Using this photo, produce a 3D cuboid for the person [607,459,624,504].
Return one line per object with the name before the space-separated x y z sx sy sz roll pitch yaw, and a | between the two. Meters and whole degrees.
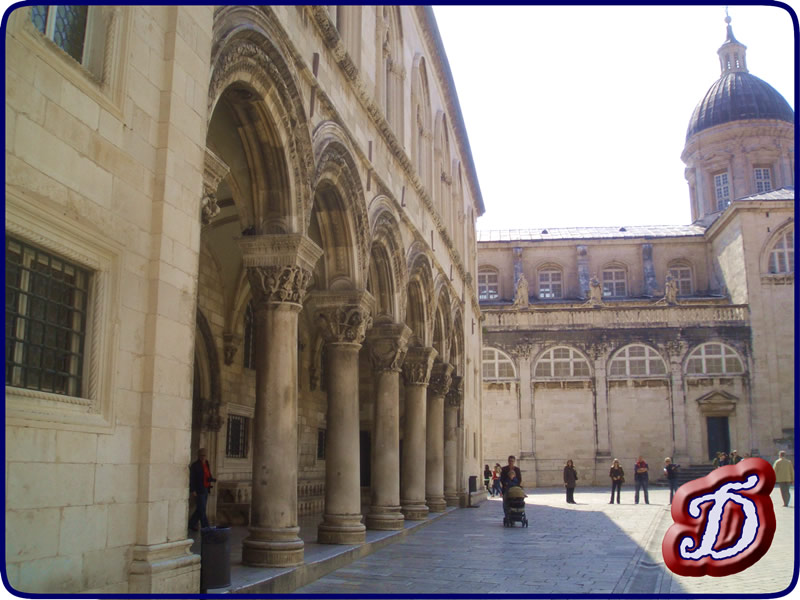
person | 8.217 6.882 28.307 0.507 1.545 2.380 -7 -15 16
